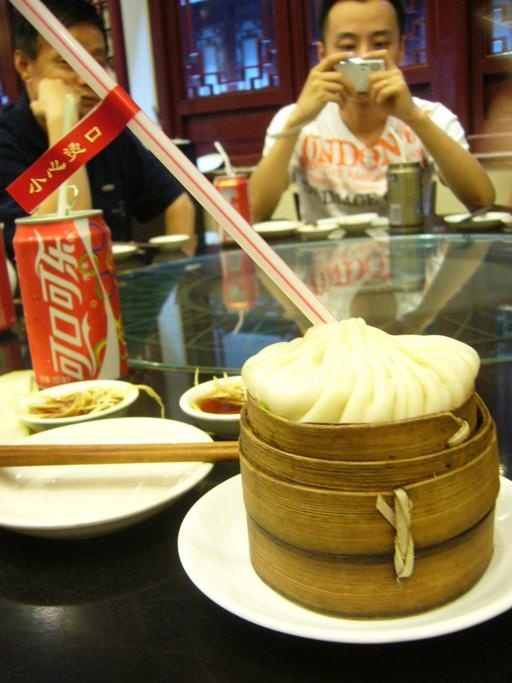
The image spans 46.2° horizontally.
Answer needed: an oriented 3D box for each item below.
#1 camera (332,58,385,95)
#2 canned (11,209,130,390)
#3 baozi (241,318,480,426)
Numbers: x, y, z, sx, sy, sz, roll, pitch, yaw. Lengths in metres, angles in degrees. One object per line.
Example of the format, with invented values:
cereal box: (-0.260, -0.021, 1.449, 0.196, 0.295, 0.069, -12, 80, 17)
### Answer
camera: (0.433, -1.132, 2.528, 0.246, 0.142, 0.160, 1, 15, 12)
canned: (-0.246, -0.054, 0.812, 0.134, 0.212, 0.132, -15, 15, -42)
baozi: (0.057, 0.015, 0.361, 0.131, 0.043, 0.110, 1, 13, 30)
